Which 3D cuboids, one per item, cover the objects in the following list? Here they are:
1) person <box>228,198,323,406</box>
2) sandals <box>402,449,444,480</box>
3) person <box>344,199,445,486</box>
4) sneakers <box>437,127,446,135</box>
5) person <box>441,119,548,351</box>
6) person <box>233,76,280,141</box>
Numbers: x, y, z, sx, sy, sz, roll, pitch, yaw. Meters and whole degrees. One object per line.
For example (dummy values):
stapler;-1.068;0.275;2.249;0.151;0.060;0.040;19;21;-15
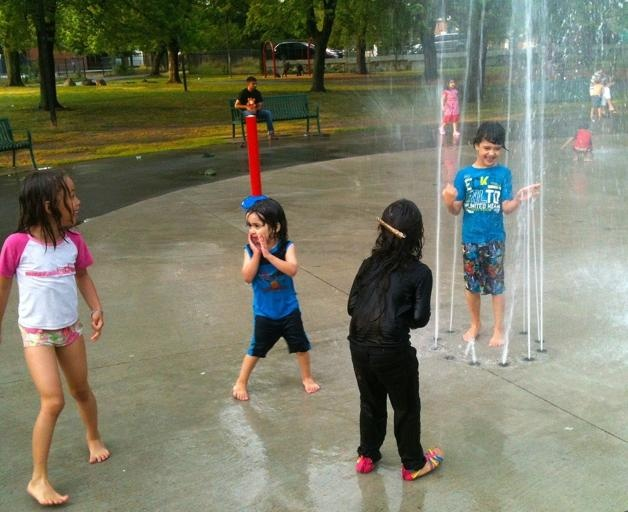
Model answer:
person;-0.299;0.303;3.954;0.599;1.365;0.371;-4;14;-2
sandals;0.596;1.144;3.314;0.245;0.097;0.105;-31;31;-30
person;0.429;0.462;3.201;0.481;1.495;0.334;-1;15;9
sneakers;3.778;-3.696;17.614;0.221;0.267;0.637;1;14;-1
person;1.311;-0.141;4.559;0.665;1.733;0.444;-3;15;4
person;-1.637;-4.100;16.464;1.088;1.615;1.023;-4;20;-3
